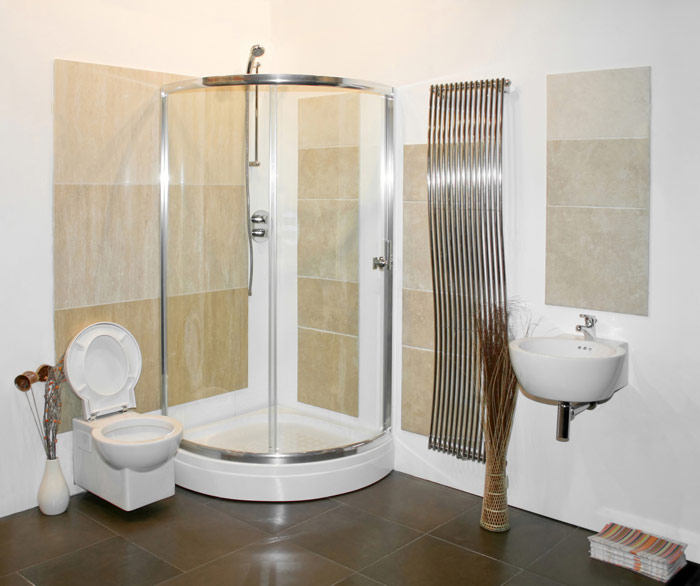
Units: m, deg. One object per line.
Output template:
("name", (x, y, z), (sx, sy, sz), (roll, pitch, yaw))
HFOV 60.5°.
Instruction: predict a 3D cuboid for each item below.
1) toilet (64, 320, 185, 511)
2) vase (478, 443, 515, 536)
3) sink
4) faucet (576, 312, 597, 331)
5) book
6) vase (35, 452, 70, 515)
("toilet", (-1.147, 0.620, 3.122), (0.520, 0.891, 0.405), (8, 10, 31))
("vase", (0.720, 0.947, 2.955), (0.143, 0.362, 0.207), (2, 7, 15))
("sink", (0.976, 0.355, 2.710), (0.499, 0.266, 0.429), (4, 9, 28))
("faucet", (1.107, 0.128, 2.811), (0.090, 0.097, 0.061), (8, -7, -42))
("book", (1.248, 1.087, 2.602), (0.241, 0.083, 0.182), (2, 5, 42))
("vase", (-1.514, 0.967, 3.063), (0.152, 0.275, 0.165), (-3, 8, -23))
